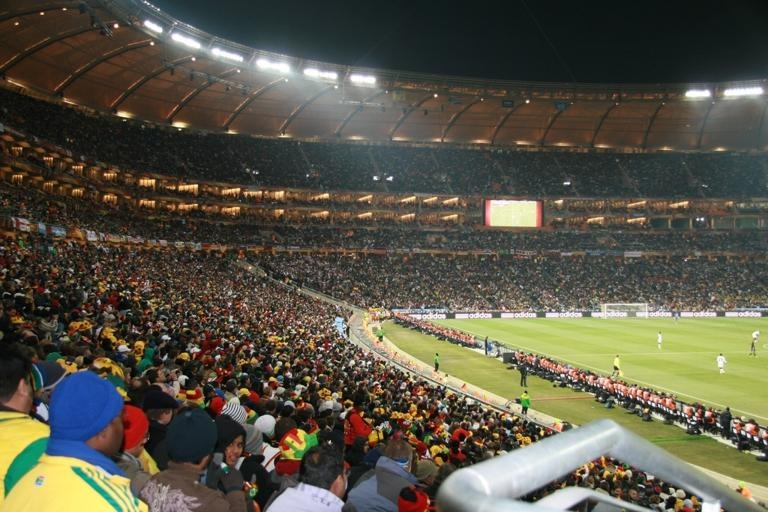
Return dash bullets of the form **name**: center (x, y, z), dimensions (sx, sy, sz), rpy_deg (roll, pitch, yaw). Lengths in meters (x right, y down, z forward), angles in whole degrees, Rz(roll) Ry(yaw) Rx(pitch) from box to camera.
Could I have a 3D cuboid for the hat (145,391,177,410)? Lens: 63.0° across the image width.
- **hat**: center (-8.322, 5.380, 23.417), dimensions (0.907, 0.308, 0.714), rpy_deg (10, -13, -38)
